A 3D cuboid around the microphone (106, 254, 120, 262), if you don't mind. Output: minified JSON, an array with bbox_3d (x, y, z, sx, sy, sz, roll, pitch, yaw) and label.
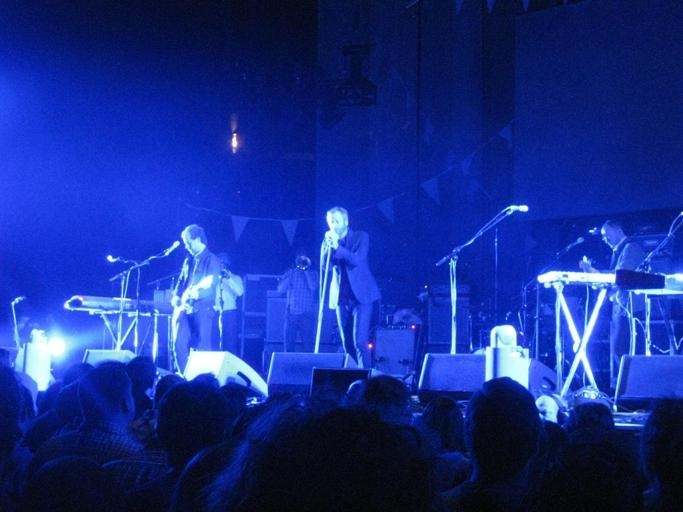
[{"bbox_3d":[-3.047,0.054,9.408,0.160,0.062,0.224,9,22,-24],"label":"microphone"}]

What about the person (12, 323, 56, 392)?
[{"bbox_3d":[-3.575,1.173,8.182,0.375,0.834,0.392,4,7,37],"label":"person"}]

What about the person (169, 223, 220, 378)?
[{"bbox_3d":[-1.906,0.518,9.199,0.504,2.113,0.552,-3,6,-32],"label":"person"}]

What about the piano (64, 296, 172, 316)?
[{"bbox_3d":[-3.072,0.689,9.778,1.418,0.258,0.450,9,-12,-34],"label":"piano"}]

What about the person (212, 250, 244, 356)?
[{"bbox_3d":[-1.597,0.741,10.305,0.377,1.668,0.420,0,4,-28],"label":"person"}]

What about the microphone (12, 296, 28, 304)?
[{"bbox_3d":[-4.307,0.595,9.431,0.162,0.113,0.062,6,-10,-19],"label":"microphone"}]

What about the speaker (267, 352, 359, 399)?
[{"bbox_3d":[-0.409,1.151,7.067,0.799,0.560,0.442,1,-19,-3],"label":"speaker"}]

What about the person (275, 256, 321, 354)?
[{"bbox_3d":[-0.613,0.705,10.440,0.468,1.402,0.545,-3,6,-31],"label":"person"}]

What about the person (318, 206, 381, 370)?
[{"bbox_3d":[0.189,0.327,7.980,0.514,1.955,0.554,-5,8,-43],"label":"person"}]

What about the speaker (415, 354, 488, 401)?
[{"bbox_3d":[1.069,1.146,6.965,0.640,0.529,0.555,-1,4,-13],"label":"speaker"}]

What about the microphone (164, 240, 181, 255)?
[{"bbox_3d":[-2.483,-0.132,10.404,0.285,0.079,0.078,-43,-9,24],"label":"microphone"}]
